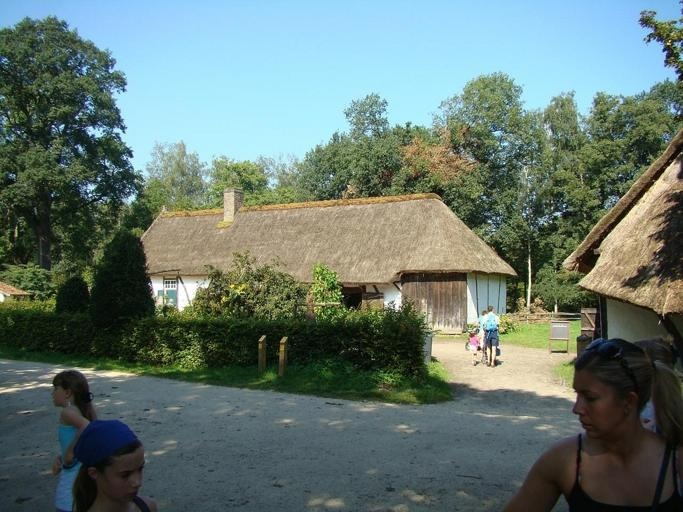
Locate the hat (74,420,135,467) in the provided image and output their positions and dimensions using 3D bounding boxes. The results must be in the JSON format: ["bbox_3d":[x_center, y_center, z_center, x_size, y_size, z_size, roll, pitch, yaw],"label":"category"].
[{"bbox_3d":[-1.679,1.323,4.337,0.407,0.246,0.297,-2,9,12],"label":"hat"}]

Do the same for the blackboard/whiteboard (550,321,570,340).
[{"bbox_3d":[8.475,2.891,23.129,0.783,0.810,0.681,-2,-7,21],"label":"blackboard/whiteboard"}]
